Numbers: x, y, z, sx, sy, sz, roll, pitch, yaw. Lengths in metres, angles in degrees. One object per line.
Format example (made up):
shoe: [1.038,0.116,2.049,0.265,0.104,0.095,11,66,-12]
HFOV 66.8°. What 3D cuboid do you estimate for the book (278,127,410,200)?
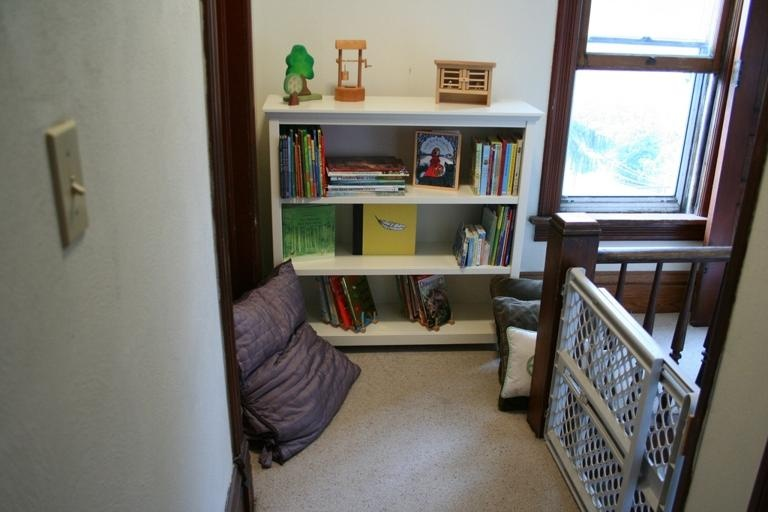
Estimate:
book: [-0.217,-0.486,2.976,0.641,0.331,0.225,-5,20,-9]

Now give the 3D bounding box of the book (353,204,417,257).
book: [0.005,-0.145,3.177,0.243,0.236,0.116,0,23,-3]

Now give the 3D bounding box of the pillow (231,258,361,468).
pillow: [-0.460,0.516,2.658,0.240,0.710,0.699,-20,11,27]

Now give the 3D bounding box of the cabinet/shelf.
cabinet/shelf: [0.072,-0.210,3.053,1.233,1.219,0.485,-1,31,-2]

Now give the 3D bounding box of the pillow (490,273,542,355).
pillow: [0.738,0.248,3.061,0.340,0.108,0.361,7,34,2]

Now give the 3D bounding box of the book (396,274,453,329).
book: [0.233,0.251,3.245,0.281,0.299,0.087,-3,-5,-20]

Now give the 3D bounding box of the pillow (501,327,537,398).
pillow: [0.638,0.519,2.782,0.137,0.314,0.145,5,21,16]

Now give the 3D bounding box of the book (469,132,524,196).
book: [0.583,-0.459,3.015,0.245,0.283,0.130,2,20,8]

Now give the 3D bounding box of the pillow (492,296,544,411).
pillow: [0.629,0.469,2.881,0.421,0.430,0.123,7,-5,-32]

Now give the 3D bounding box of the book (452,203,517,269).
book: [0.512,-0.091,3.148,0.306,0.424,0.311,2,19,2]

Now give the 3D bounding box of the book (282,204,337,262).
book: [-0.404,-0.125,3.038,0.287,0.303,0.029,-4,27,-16]
